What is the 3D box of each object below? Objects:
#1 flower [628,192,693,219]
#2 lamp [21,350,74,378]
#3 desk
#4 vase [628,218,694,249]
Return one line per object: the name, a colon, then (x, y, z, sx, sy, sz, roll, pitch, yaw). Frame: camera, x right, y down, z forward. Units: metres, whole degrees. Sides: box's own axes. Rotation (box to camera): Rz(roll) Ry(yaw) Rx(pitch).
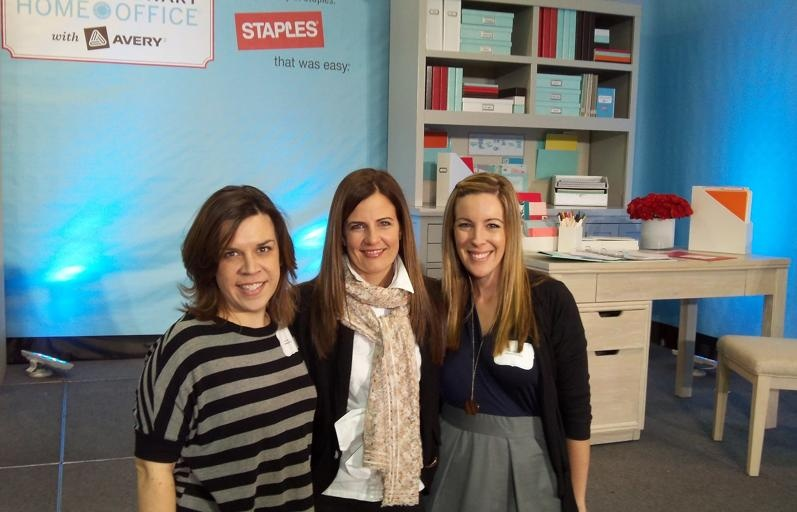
flower: (2.007, -0.375, 4.756, 0.289, 0.128, 0.283, -1, 2, -9)
lamp: (-3.046, 0.901, 5.184, 0.483, 0.225, 0.198, 0, 13, 2)
desk: (1.823, 0.430, 4.754, 2.530, 1.596, 1.263, -2, 4, -17)
vase: (2.097, -0.179, 4.733, 0.262, 0.241, 0.231, 1, 2, -1)
